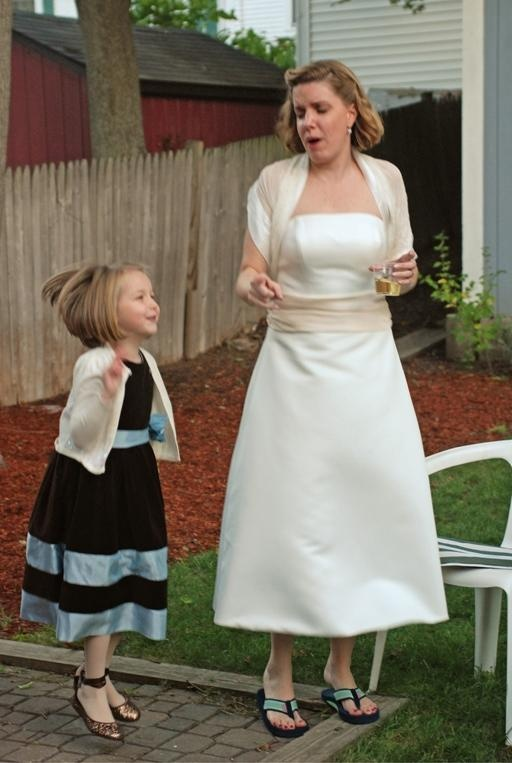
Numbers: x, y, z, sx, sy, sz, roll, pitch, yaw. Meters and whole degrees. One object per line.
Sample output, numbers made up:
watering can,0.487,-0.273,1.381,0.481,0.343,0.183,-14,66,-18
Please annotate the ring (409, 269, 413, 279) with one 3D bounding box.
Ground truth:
ring,0.431,-0.300,2.308,0.005,0.018,0.018,6,6,21

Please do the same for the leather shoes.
leather shoes,-0.465,0.962,2.508,0.108,0.122,0.333,-3,5,-35

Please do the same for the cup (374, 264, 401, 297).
cup,0.378,-0.277,2.321,0.099,0.077,0.060,-6,2,-24

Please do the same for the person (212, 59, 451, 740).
person,0.180,0.074,2.413,0.663,1.999,0.430,-3,7,-4

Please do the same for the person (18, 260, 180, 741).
person,-0.406,0.359,2.443,0.495,1.411,0.453,-7,8,-32
